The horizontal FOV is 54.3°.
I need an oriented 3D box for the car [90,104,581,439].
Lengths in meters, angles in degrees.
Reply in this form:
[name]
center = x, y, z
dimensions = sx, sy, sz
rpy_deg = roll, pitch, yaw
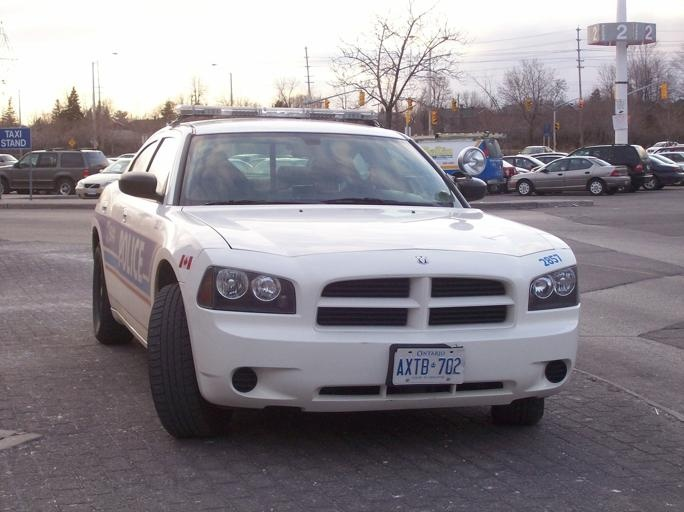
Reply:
[car]
center = -0.416, -0.029, 5.218
dimensions = 1.924, 1.329, 3.624
rpy_deg = 1, 2, -16
